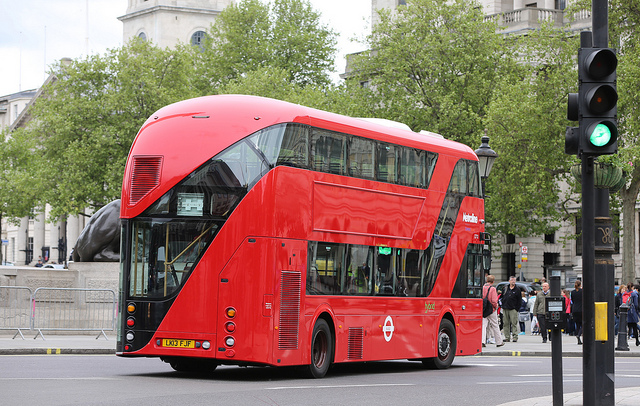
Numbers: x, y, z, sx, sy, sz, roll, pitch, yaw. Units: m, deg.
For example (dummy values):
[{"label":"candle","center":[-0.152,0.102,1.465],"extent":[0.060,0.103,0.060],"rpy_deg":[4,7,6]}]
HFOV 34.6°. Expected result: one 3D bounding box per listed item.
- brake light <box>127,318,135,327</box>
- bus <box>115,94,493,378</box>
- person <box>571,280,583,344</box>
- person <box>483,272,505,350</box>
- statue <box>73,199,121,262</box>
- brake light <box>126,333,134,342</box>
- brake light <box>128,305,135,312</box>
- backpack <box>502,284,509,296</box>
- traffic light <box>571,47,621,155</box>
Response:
[{"label":"brake light","center":[-4.534,2.853,24.625],"extent":[0.168,0.197,0.027],"rpy_deg":[2,1,26]},{"label":"bus","center":[-0.359,1.118,25.966],"extent":[3.481,4.534,8.989],"rpy_deg":[-3,-6,37]},{"label":"person","center":[9.524,4.011,38.261],"extent":[0.389,1.488,1.459],"rpy_deg":[2,1,13]},{"label":"person","center":[5.888,3.687,35.361],"extent":[0.966,2.388,0.969],"rpy_deg":[0,1,3]},{"label":"statue","center":[-7.988,1.036,37.520],"extent":[1.703,2.205,0.651],"rpy_deg":[2,1,18]},{"label":"brake light","center":[-4.557,3.215,24.661],"extent":[0.209,0.202,0.024],"rpy_deg":[2,1,27]},{"label":"brake light","center":[-4.521,2.516,24.627],"extent":[0.178,0.155,0.024],"rpy_deg":[2,1,16]},{"label":"backpack","center":[6.927,3.195,38.391],"extent":[0.072,0.253,0.204],"rpy_deg":[4,6,-27]},{"label":"traffic light","center":[5.187,-1.898,18.959],"extent":[0.816,1.959,0.607],"rpy_deg":[-1,4,-7]}]
